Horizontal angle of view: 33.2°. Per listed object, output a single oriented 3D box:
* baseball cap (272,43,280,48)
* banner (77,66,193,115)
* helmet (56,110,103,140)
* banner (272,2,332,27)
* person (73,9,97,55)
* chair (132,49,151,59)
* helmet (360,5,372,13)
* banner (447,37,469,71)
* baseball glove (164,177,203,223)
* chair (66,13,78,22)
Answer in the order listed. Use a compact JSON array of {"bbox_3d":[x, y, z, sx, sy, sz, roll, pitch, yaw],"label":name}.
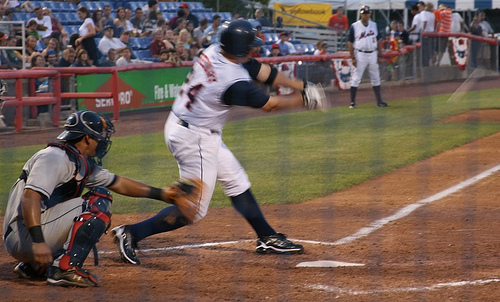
[{"bbox_3d":[0.725,-3.012,24.285,0.381,0.144,0.489,0,6,0],"label":"baseball cap"},{"bbox_3d":[-2.930,-1.496,21.029,0.381,1.055,3.244,9,14,41],"label":"banner"},{"bbox_3d":[-2.446,-0.363,12.112,0.601,0.254,0.393,-3,4,-28],"label":"helmet"},{"bbox_3d":[1.848,-4.929,30.678,2.122,0.864,1.319,2,11,16],"label":"banner"},{"bbox_3d":[-4.270,-3.062,21.698,0.552,1.111,1.468,-4,11,-9],"label":"person"},{"bbox_3d":[-2.935,-2.611,22.684,0.382,0.295,0.335,-1,0,-17],"label":"chair"},{"bbox_3d":[2.925,-3.509,21.023,0.316,0.137,0.177,-11,29,-27],"label":"helmet"},{"bbox_3d":[6.365,-2.951,25.796,0.646,1.055,0.573,-1,12,2],"label":"banner"},{"bbox_3d":[-0.965,0.726,12.615,0.478,0.602,0.262,-31,-6,-18],"label":"baseball glove"},{"bbox_3d":[-5.081,-3.762,23.893,0.267,0.140,0.154,30,26,24],"label":"chair"}]
